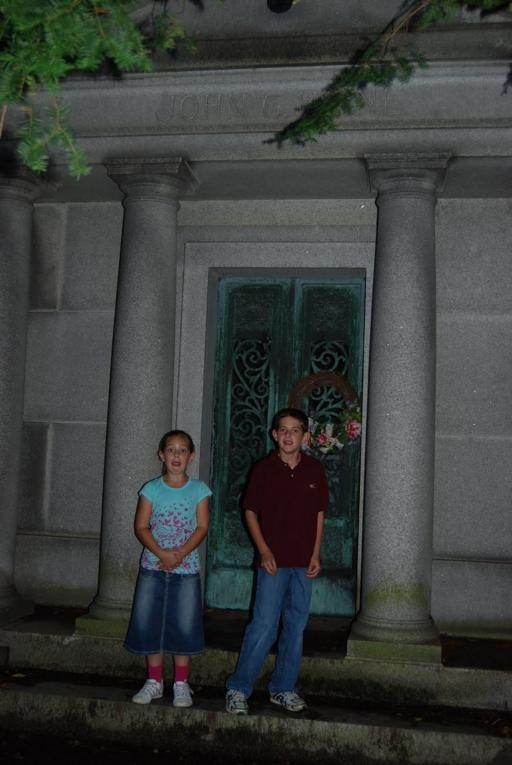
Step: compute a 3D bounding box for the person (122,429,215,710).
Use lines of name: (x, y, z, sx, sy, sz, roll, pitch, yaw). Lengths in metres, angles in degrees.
person: (-0.596, 1.282, 5.053, 0.553, 1.888, 0.443, 5, -4, -1)

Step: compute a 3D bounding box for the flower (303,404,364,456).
flower: (0.787, 0.453, 7.312, 0.593, 0.495, 0.245, 17, 4, 5)

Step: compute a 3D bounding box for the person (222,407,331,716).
person: (0.192, 1.219, 5.064, 0.613, 2.076, 0.398, 7, -5, -14)

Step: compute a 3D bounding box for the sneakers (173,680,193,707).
sneakers: (-0.505, 2.146, 5.058, 0.143, 0.149, 0.267, 5, -4, -5)

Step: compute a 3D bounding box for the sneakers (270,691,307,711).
sneakers: (0.239, 2.221, 5.078, 0.101, 0.113, 0.275, 11, -18, -42)

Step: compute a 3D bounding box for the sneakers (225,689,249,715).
sneakers: (-0.123, 2.159, 4.915, 0.157, 0.144, 0.141, 5, -4, -1)
